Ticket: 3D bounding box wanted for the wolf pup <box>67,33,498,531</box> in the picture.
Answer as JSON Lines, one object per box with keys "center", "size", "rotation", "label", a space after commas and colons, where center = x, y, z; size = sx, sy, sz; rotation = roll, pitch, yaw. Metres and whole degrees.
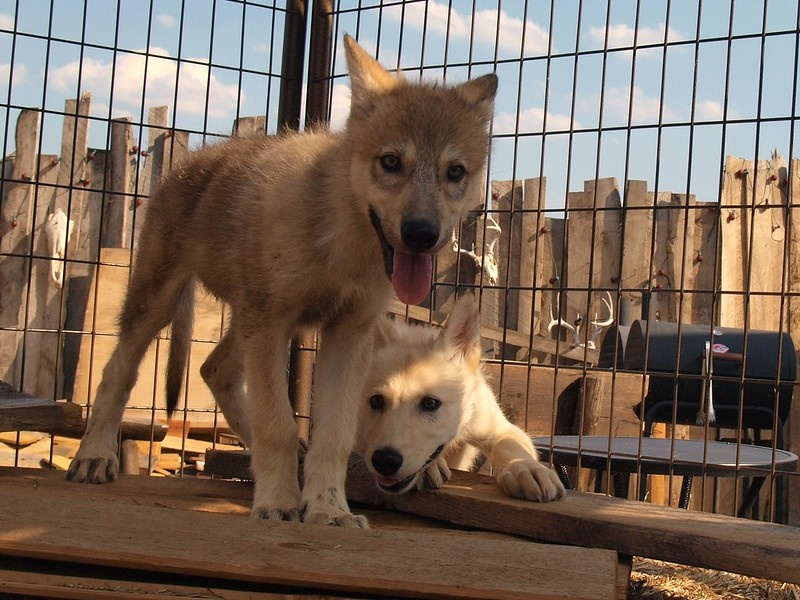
{"center": [-0.595, -0.164, 6.659], "size": [1.834, 2.493, 0.789], "rotation": [4, -4, 21], "label": "wolf pup"}
